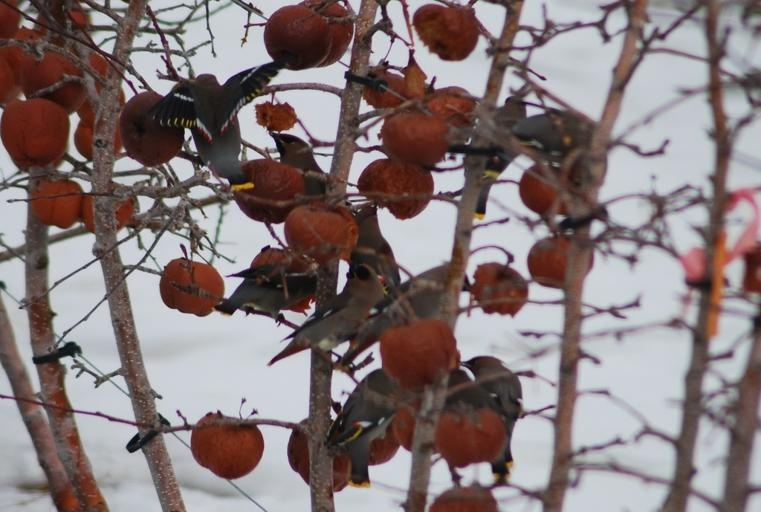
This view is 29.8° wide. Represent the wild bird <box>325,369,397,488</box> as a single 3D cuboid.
[{"bbox_3d":[-0.027,0.292,2.527,0.103,0.220,0.085,19,-26,-27],"label":"wild bird"}]

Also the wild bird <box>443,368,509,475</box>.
[{"bbox_3d":[0.140,0.284,2.448,0.131,0.111,0.140,-26,-55,24],"label":"wild bird"}]

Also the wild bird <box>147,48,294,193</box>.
[{"bbox_3d":[-0.299,-0.231,2.609,0.269,0.138,0.309,-14,-15,-1],"label":"wild bird"}]

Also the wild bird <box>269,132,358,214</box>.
[{"bbox_3d":[-0.127,-0.147,2.669,0.157,0.178,0.083,-3,-21,-9],"label":"wild bird"}]
